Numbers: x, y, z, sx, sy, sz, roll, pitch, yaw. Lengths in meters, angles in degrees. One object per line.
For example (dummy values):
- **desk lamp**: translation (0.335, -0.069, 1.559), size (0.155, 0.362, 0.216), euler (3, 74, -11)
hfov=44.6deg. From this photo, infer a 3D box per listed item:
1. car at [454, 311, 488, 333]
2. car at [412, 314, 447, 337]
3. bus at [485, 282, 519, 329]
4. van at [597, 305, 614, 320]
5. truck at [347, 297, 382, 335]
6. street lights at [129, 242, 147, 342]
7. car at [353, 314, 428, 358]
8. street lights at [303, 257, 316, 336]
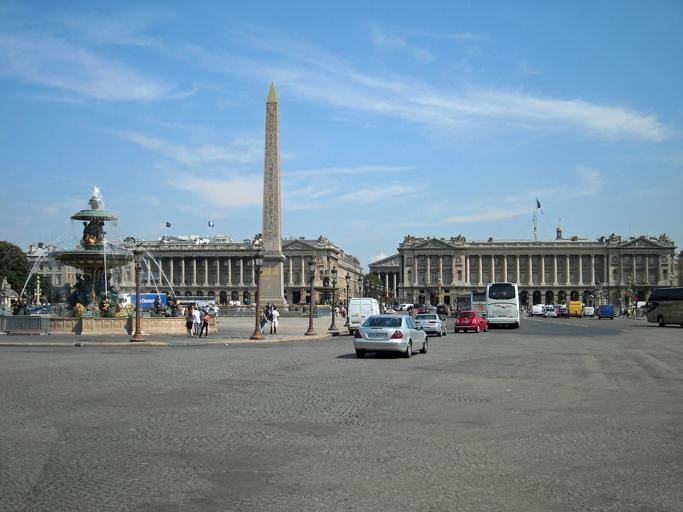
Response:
- **car**: translation (7.942, 3.998, 51.256), size (1.198, 0.805, 2.555), euler (-1, -1, 15)
- **car**: translation (4.801, 3.797, 45.245), size (1.547, 1.073, 3.480), euler (0, 1, 11)
- **bus**: translation (11.095, 3.248, 57.372), size (2.166, 2.837, 1.237), euler (-2, -4, 3)
- **van**: translation (32.402, 7.037, 101.584), size (2.306, 1.841, 3.628), euler (0, 1, 10)
- **truck**: translation (1.208, 3.197, 48.139), size (1.375, 1.284, 2.535), euler (-1, -1, 8)
- **street lights**: translation (-8.786, 1.604, 35.798), size (0.901, 4.152, 0.783), euler (-1, -3, 6)
- **car**: translation (1.618, 2.542, 26.823), size (1.516, 1.315, 2.519), euler (-3, -4, 27)
- **street lights**: translation (-1.715, 2.333, 46.645), size (0.999, 4.341, 0.908), euler (2, -4, -19)
